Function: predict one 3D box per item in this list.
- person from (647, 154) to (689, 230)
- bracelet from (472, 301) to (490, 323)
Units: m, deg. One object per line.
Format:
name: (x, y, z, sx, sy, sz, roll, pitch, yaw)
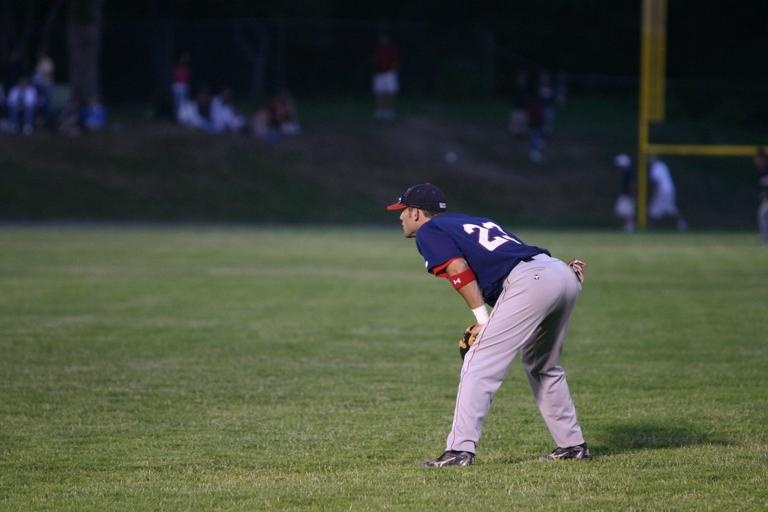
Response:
person: (5.699, -1.223, 35.909, 0.590, 1.798, 0.784, -10, 4, -30)
bracelet: (1.522, 0.884, 27.975, 0.239, 0.323, 0.255, 2, 8, 2)
